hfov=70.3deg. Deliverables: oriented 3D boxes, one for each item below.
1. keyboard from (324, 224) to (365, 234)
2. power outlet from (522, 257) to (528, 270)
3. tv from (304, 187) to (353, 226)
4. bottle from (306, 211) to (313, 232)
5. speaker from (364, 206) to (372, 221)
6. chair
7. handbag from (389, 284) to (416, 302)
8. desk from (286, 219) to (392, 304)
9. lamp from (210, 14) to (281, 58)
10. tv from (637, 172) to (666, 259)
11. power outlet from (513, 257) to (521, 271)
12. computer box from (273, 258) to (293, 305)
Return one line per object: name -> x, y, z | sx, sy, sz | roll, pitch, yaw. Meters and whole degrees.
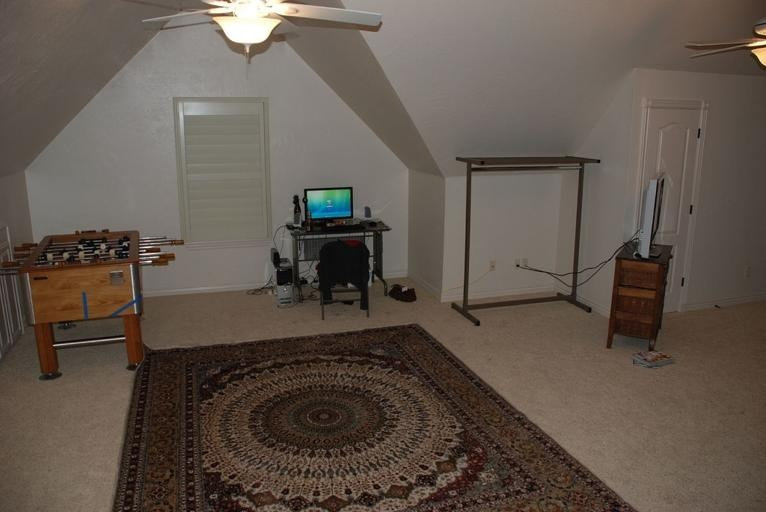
keyboard -> -0.510, -0.361, 7.071 | 0.533, 0.102, 0.203 | -3, 12, -6
power outlet -> 1.880, 0.100, 7.206 | 0.106, 0.156, 0.022 | -7, 13, -22
tv -> -0.733, -0.652, 7.167 | 0.523, 0.355, 0.044 | -2, 9, -14
bottle -> -0.959, -0.470, 7.032 | 0.093, 0.230, 0.204 | -4, 12, -10
speaker -> -0.210, -0.588, 7.426 | 0.160, 0.225, 0.135 | 4, 9, 29
chair -> -0.452, 0.217, 6.527 | 0.706, 0.887, 0.644 | -1, 7, 16
handbag -> 0.248, 0.481, 7.079 | 0.389, 0.152, 0.310 | 0, 12, 9
desk -> -0.605, -0.232, 7.239 | 1.685, 1.099, 1.004 | -3, 13, -14
lamp -> -0.982, -1.569, 3.943 | 0.462, 0.224, 0.417 | -4, 11, -6
tv -> 2.870, -0.462, 5.849 | 0.124, 0.634, 0.924 | 8, 11, 24
power outlet -> 1.728, 0.098, 7.185 | 0.089, 0.177, 0.126 | -2, 11, -11
computer box -> -1.247, 0.324, 6.899 | 0.224, 0.533, 0.244 | -4, 12, -11
